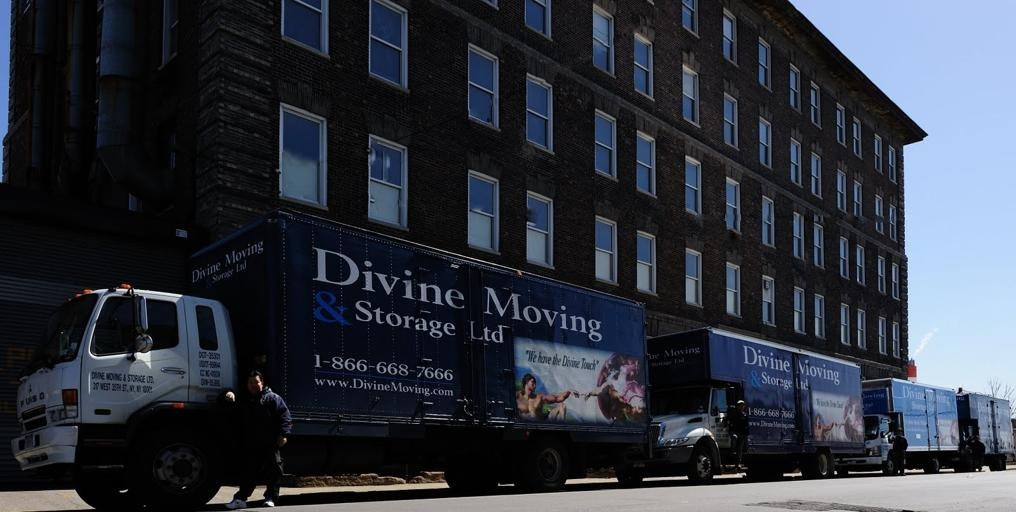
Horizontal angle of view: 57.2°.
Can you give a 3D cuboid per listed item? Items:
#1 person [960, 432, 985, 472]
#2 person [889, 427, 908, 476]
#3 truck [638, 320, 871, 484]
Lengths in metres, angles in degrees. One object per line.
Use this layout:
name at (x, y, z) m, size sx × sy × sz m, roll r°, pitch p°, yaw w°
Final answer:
person at (25.949, 10.995, 51.993) m, size 1.443 × 2.116 × 0.682 m, roll 6°, pitch 0°, yaw 7°
person at (19.045, 9.517, 45.330) m, size 0.766 × 2.129 × 1.101 m, roll -7°, pitch -20°, yaw 20°
truck at (10.106, 6.332, 38.780) m, size 8.844 × 3.229 × 3.015 m, roll 15°, pitch -24°, yaw -39°
